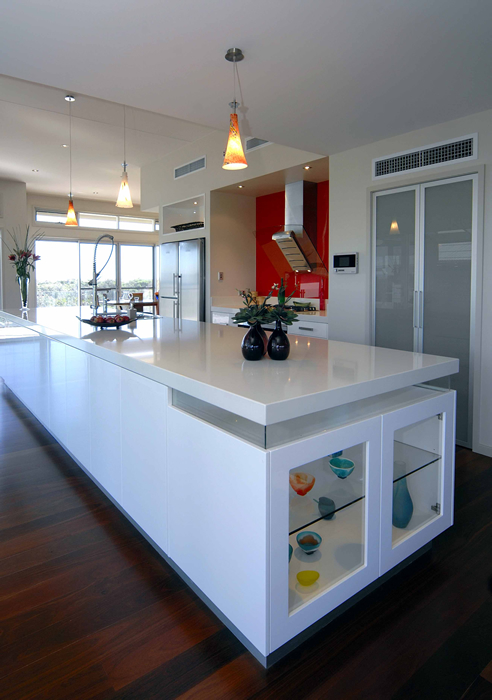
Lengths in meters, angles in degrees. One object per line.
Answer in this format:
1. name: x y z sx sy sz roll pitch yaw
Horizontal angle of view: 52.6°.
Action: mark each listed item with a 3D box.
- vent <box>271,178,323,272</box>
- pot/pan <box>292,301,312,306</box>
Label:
1. vent: 0.547 -1.301 5.196 0.431 0.947 0.609 5 8 37
2. pot/pan: 0.571 -0.477 5.083 0.188 0.070 0.136 -1 3 -19
